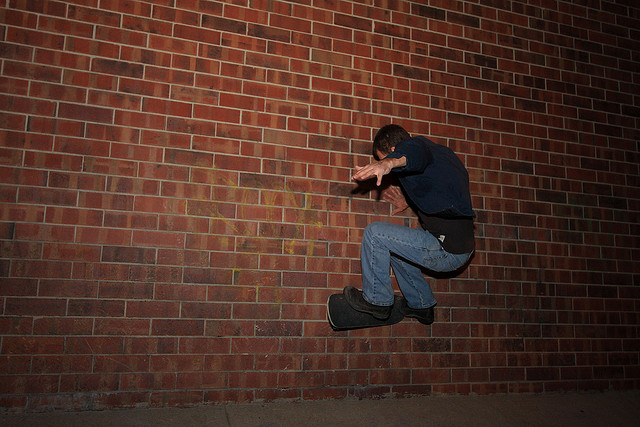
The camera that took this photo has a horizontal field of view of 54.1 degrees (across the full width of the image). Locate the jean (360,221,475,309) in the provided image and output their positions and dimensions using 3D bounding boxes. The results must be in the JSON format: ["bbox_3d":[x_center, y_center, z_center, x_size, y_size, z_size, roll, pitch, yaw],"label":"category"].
[{"bbox_3d":[0.854,0.519,6.079,0.909,0.852,0.304,1,15,-9],"label":"jean"}]
